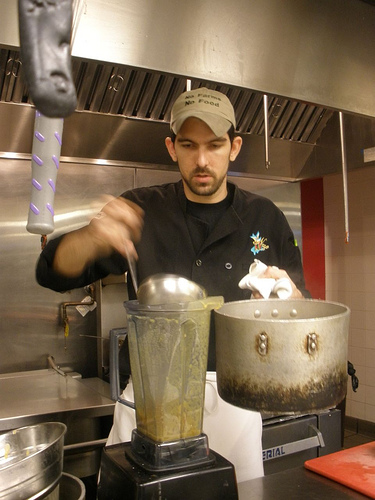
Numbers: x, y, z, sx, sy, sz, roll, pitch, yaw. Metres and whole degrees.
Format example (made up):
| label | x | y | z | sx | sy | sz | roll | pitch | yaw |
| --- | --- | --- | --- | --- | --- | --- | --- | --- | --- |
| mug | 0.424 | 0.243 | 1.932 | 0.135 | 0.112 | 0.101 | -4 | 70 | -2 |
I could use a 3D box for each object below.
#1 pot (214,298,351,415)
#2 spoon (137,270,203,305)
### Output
| label | x | y | z | sx | sy | sz | roll | pitch | yaw |
| --- | --- | --- | --- | --- | --- | --- | --- | --- | --- |
| pot | 0.139 | 0.148 | 0.598 | 0.194 | 0.135 | 0.196 | -4 | 3 | 0 |
| spoon | -0.028 | 0.068 | 0.631 | 0.105 | 0.042 | 0.071 | 9 | 13 | 4 |
